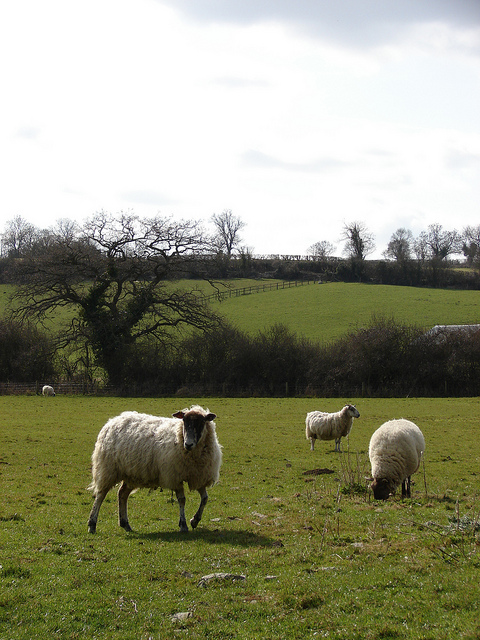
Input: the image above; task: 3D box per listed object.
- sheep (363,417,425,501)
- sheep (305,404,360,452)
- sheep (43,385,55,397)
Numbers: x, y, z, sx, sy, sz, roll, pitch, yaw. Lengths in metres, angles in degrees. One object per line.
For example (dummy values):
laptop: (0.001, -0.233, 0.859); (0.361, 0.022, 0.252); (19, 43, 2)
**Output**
sheep: (3.242, 3.095, 20.385); (0.949, 1.886, 2.404); (1, 12, 22)
sheep: (2.612, 3.095, 28.192); (1.535, 1.299, 1.107); (0, 1, 21)
sheep: (-10.103, 3.783, 51.608); (0.599, 0.525, 1.100); (0, 1, -13)
